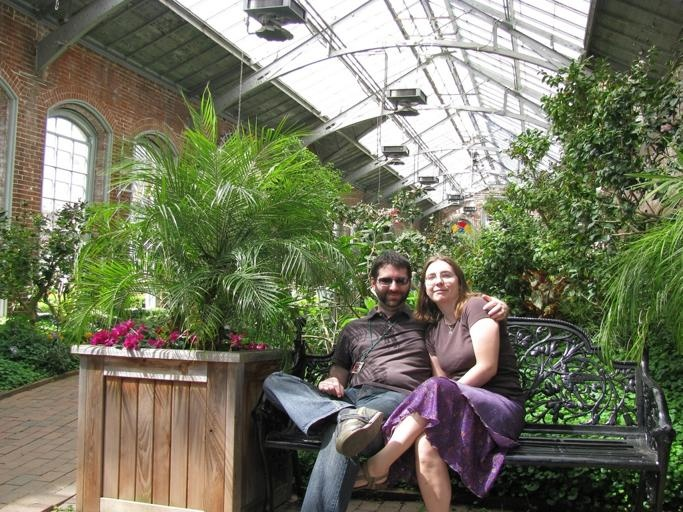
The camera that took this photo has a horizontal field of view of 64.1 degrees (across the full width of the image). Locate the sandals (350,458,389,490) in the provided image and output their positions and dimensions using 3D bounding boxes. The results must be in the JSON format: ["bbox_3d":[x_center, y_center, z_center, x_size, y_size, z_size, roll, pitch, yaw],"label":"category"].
[{"bbox_3d":[0.170,1.118,2.786,0.225,0.093,0.102,22,-55,-9],"label":"sandals"}]

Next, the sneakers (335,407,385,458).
[{"bbox_3d":[0.084,0.854,2.599,0.209,0.246,0.175,-12,-10,33],"label":"sneakers"}]

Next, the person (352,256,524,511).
[{"bbox_3d":[0.527,0.609,2.915,0.647,1.282,0.810,-13,-10,38],"label":"person"}]

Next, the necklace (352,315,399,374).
[{"bbox_3d":[0.229,0.569,3.266,0.132,0.450,0.062,43,-20,-33],"label":"necklace"}]
